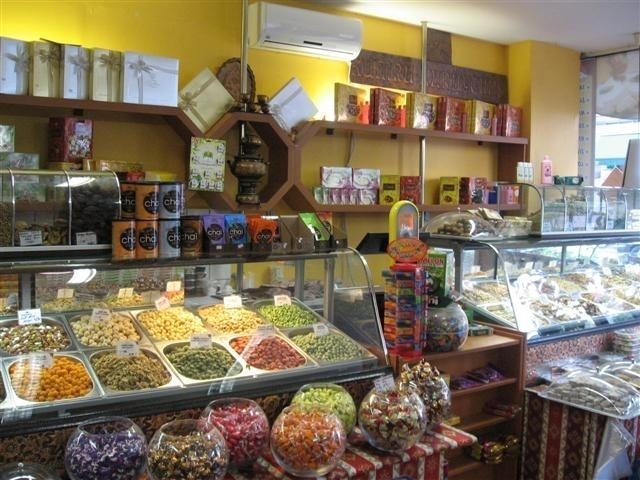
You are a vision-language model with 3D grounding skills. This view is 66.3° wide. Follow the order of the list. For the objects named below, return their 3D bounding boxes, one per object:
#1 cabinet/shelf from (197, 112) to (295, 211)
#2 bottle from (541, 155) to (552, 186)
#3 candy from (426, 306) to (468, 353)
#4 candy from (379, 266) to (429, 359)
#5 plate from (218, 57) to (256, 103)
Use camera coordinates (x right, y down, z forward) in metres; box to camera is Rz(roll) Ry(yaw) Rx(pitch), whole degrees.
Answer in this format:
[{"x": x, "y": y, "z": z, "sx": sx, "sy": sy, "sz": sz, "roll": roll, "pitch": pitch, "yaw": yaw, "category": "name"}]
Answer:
[{"x": -0.647, "y": -0.684, "z": 4.150, "sx": 0.885, "sy": 0.862, "sz": 0.315, "roll": -2, "pitch": 7, "yaw": -40, "category": "cabinet/shelf"}, {"x": 2.672, "y": -0.826, "z": 5.767, "sx": 0.121, "sy": 0.318, "sz": 0.127, "roll": 0, "pitch": 5, "yaw": 0, "category": "bottle"}, {"x": 0.760, "y": 0.553, "z": 3.082, "sx": 0.262, "sy": 0.231, "sz": 0.260, "roll": 2, "pitch": -2, "yaw": -35, "category": "candy"}, {"x": 0.501, "y": 0.411, "z": 2.878, "sx": 0.263, "sy": 0.544, "sz": 0.219, "roll": 1, "pitch": 5, "yaw": 7, "category": "candy"}, {"x": -0.734, "y": -1.441, "z": 4.388, "sx": 0.392, "sy": 0.378, "sz": 0.221, "roll": -3, "pitch": 6, "yaw": -24, "category": "plate"}]
